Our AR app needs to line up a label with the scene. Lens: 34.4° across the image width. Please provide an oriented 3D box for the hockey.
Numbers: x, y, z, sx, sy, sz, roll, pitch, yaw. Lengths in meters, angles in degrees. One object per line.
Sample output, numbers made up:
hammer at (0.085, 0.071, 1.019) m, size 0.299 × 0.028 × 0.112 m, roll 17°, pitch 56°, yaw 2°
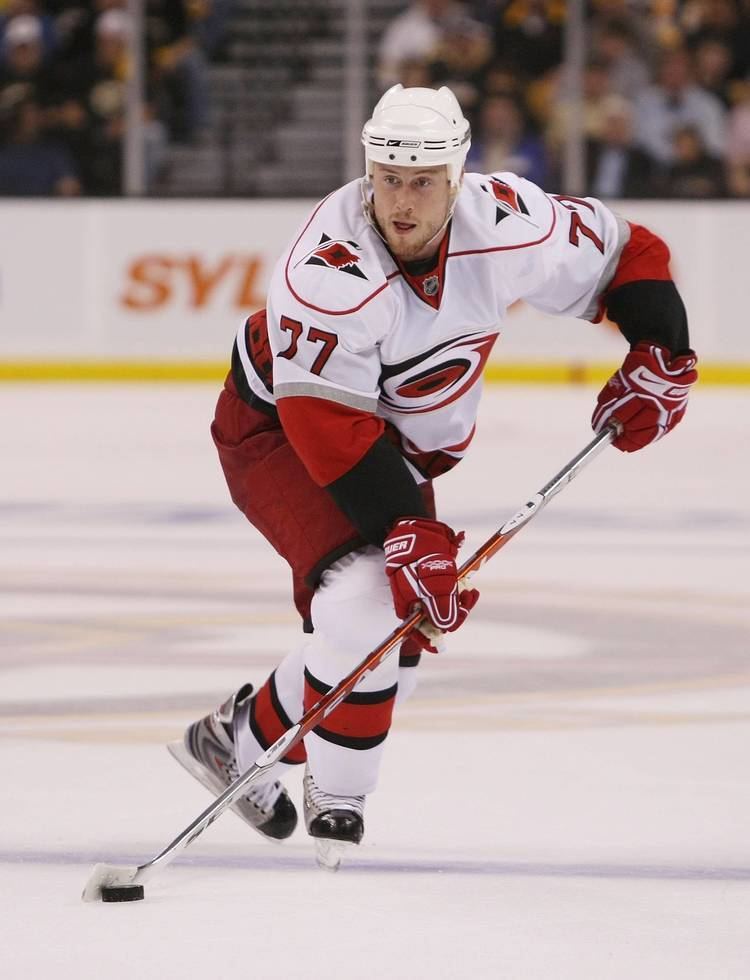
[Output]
hockey at (-0.036, 0.314, 2.143) m, size 0.115 × 1.211 × 0.138 m, roll 60°, pitch 15°, yaw 23°

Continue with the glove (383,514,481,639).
glove at (0.079, 0.119, 1.667) m, size 0.153 × 0.148 × 0.075 m, roll 3°, pitch -1°, yaw -8°

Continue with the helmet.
helmet at (0.076, -0.505, 1.694) m, size 0.158 × 0.121 × 0.171 m, roll 2°, pitch 18°, yaw 6°

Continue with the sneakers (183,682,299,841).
sneakers at (-0.201, 0.431, 1.880) m, size 0.238 × 0.158 × 0.079 m, roll 42°, pitch 45°, yaw 5°
